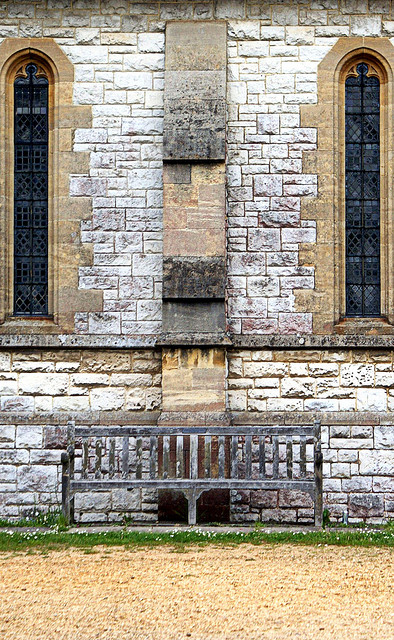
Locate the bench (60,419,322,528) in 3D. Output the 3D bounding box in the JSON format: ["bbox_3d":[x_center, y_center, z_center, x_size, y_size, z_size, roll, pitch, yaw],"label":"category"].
[{"bbox_3d":[-0.044,1.581,14.330,2.623,1.178,0.525,0,-6,3],"label":"bench"}]
